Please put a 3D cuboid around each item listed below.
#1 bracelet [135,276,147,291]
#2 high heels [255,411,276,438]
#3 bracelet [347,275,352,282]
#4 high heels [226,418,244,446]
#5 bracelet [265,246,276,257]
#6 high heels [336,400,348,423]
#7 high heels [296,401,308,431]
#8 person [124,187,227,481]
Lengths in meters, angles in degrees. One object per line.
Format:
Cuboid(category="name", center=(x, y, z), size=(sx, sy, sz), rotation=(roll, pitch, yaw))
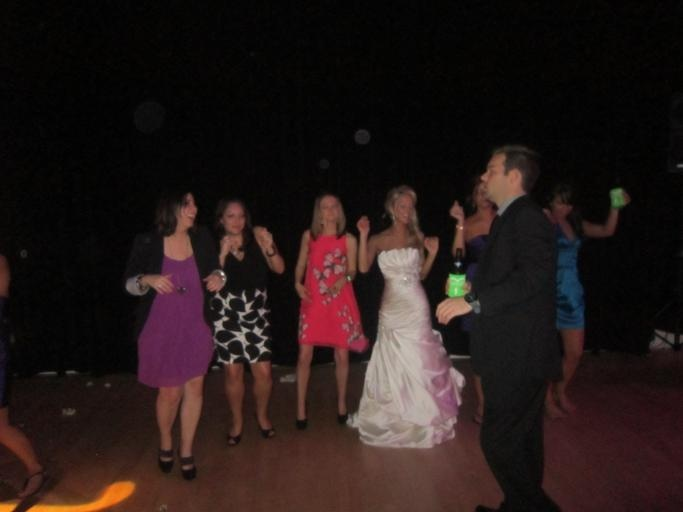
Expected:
Cuboid(category="bracelet", center=(-1.506, 0.196, 3.919), size=(0.036, 0.093, 0.087), rotation=(-18, -26, -47))
Cuboid(category="high heels", center=(-0.664, 1.506, 4.609), size=(0.101, 0.270, 0.075), rotation=(-3, -39, -30))
Cuboid(category="bracelet", center=(0.068, 0.201, 4.746), size=(0.054, 0.038, 0.054), rotation=(-11, -20, 28))
Cuboid(category="high heels", center=(-0.924, 1.522, 4.537), size=(0.092, 0.264, 0.068), rotation=(-3, -4, 6))
Cuboid(category="bracelet", center=(-0.631, -0.048, 4.586), size=(0.062, 0.032, 0.083), rotation=(-10, 25, 35))
Cuboid(category="high heels", center=(0.013, 1.423, 4.790), size=(0.067, 0.242, 0.095), rotation=(-1, -32, -1))
Cuboid(category="high heels", center=(-0.362, 1.454, 4.783), size=(0.071, 0.262, 0.060), rotation=(1, -15, 5))
Cuboid(category="person", center=(-1.283, 0.630, 4.047), size=(0.735, 2.257, 0.443), rotation=(-2, 0, -22))
